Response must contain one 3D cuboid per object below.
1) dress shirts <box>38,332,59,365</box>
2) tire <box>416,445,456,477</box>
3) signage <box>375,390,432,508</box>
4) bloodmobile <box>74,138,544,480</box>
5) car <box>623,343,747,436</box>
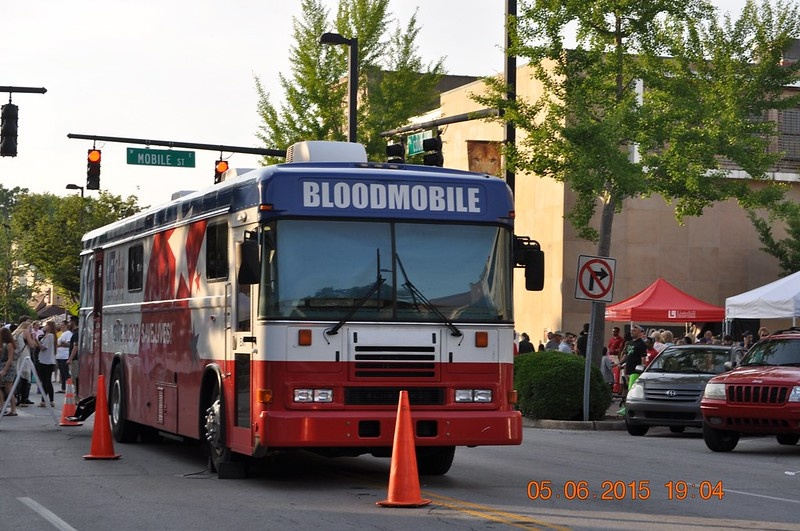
[{"bbox_3d":[-9.868,2.337,28.759,0.524,0.982,0.891,3,-9,-12],"label":"dress shirts"},{"bbox_3d":[0.510,2.922,15.452,0.279,0.727,0.714,5,-2,-23],"label":"tire"},{"bbox_3d":[0.094,2.308,13.135,0.724,1.353,0.777,0,-1,3],"label":"signage"},{"bbox_3d":[-2.700,0.987,19.109,4.541,4.748,12.355,2,-5,-27],"label":"bloodmobile"},{"bbox_3d":[6.317,2.721,22.793,1.466,1.384,2.860,-4,-11,29],"label":"car"}]
